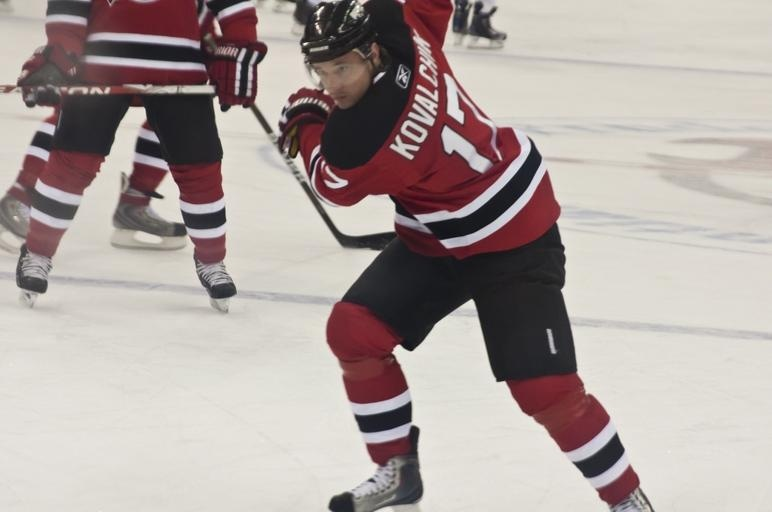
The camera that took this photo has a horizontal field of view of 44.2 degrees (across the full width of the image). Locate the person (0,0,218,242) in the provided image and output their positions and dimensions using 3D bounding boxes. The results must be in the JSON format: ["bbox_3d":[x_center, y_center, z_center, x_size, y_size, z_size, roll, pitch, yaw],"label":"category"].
[{"bbox_3d":[-1.376,-0.580,4.790,0.832,1.172,0.427,5,-1,26],"label":"person"}]

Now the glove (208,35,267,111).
[{"bbox_3d":[-0.667,-0.800,4.177,0.292,0.315,0.131,-5,12,-15],"label":"glove"}]

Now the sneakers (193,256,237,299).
[{"bbox_3d":[-0.783,0.085,4.336,0.091,0.124,0.294,-37,25,-5],"label":"sneakers"}]

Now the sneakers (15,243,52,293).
[{"bbox_3d":[-1.571,0.055,4.206,0.095,0.106,0.275,26,9,-30],"label":"sneakers"}]

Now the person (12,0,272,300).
[{"bbox_3d":[-1.093,-0.472,4.204,1.018,1.348,0.572,5,23,-9],"label":"person"}]

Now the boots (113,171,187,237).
[{"bbox_3d":[-1.242,-0.244,4.936,0.452,0.317,0.158,8,5,-43],"label":"boots"}]

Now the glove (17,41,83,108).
[{"bbox_3d":[-1.426,-0.753,4.011,0.243,0.262,0.148,-1,24,-20],"label":"glove"}]

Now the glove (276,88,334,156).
[{"bbox_3d":[-0.255,-0.482,3.350,0.196,0.238,0.100,-18,-42,38],"label":"glove"}]
